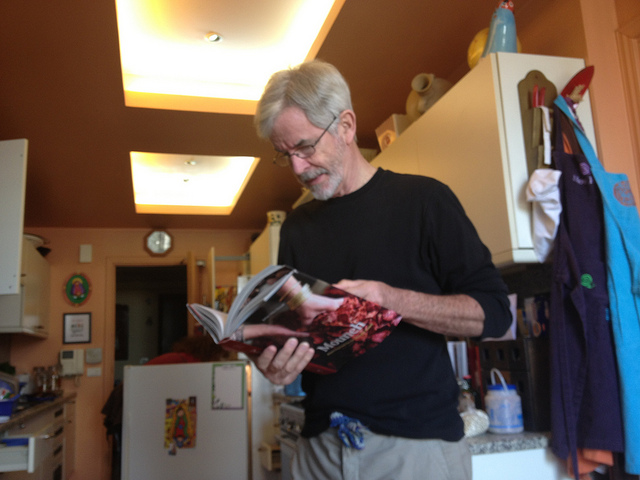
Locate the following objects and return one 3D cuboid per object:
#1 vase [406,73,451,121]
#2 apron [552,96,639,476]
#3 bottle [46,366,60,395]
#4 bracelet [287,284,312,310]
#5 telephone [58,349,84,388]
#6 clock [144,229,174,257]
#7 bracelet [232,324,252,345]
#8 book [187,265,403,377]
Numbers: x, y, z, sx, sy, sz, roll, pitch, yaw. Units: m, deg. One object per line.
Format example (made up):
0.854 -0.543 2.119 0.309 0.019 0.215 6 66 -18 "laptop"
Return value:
0.527 -0.714 2.567 0.186 0.195 0.193 -26 -36 0 "vase"
1.092 0.098 1.860 0.201 1.414 0.083 -11 -15 26 "apron"
-2.625 1.390 4.973 0.134 0.290 0.137 1 -5 0 "bottle"
-0.049 0.149 1.311 0.033 0.056 0.054 41 -35 -6 "bracelet"
-2.571 1.278 5.254 0.235 0.265 0.098 4 -16 -31 "telephone"
-1.830 0.041 5.764 0.268 0.312 0.064 2 -2 -23 "clock"
-0.209 0.247 1.395 0.049 0.048 0.047 40 -10 -23 "bracelet"
-0.032 0.210 1.350 0.340 0.138 0.351 22 -46 -30 "book"
